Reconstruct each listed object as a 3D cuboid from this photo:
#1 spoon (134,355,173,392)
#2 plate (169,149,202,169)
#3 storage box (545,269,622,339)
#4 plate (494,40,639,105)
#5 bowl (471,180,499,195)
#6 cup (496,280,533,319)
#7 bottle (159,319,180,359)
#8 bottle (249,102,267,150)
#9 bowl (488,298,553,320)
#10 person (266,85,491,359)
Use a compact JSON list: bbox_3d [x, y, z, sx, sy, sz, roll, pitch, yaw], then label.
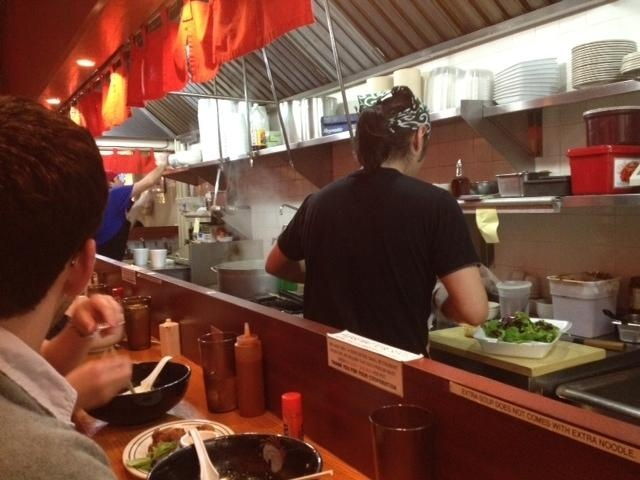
[{"bbox_3d":[-0.552,0.444,1.718,0.055,0.028,0.191,22,34,6],"label":"spoon"},{"bbox_3d":[-1.364,-0.819,5.219,0.294,0.122,0.183,-4,-8,-1],"label":"plate"},{"bbox_3d":[1.250,0.273,2.456,0.317,0.253,0.270,-2,0,-44],"label":"storage box"},{"bbox_3d":[1.182,-0.809,2.555,0.387,0.254,0.637,-3,6,-15],"label":"plate"},{"bbox_3d":[0.879,-0.274,2.769,0.085,0.044,0.102,1,1,-6],"label":"bowl"},{"bbox_3d":[0.888,0.259,2.377,0.163,0.182,0.166,-2,2,0],"label":"cup"},{"bbox_3d":[-0.622,0.412,2.140,0.079,0.145,0.141,-2,5,-5],"label":"bottle"},{"bbox_3d":[-0.508,-0.951,4.340,0.156,0.362,0.325,-2,5,-6],"label":"bottle"},{"bbox_3d":[0.931,0.323,2.403,0.164,0.127,0.193,1,-9,-13],"label":"bowl"},{"bbox_3d":[0.191,-0.080,1.873,0.796,0.950,0.311,0,5,18],"label":"person"}]
